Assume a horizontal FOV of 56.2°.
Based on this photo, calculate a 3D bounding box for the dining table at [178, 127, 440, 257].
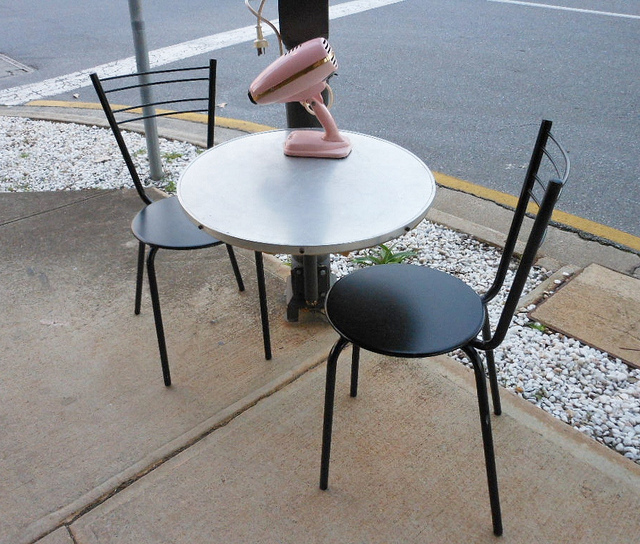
[{"bbox_3d":[-0.068,-0.327,2.524,1.026,0.549,0.897,1,28,-4],"label":"dining table"}]

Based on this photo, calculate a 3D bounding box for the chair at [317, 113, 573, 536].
[{"bbox_3d":[0.377,0.340,2.694,1.122,1.844,1.063,6,31,4],"label":"chair"}]
